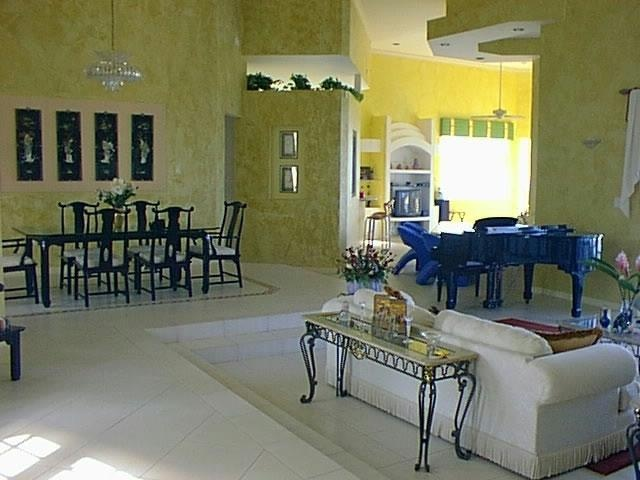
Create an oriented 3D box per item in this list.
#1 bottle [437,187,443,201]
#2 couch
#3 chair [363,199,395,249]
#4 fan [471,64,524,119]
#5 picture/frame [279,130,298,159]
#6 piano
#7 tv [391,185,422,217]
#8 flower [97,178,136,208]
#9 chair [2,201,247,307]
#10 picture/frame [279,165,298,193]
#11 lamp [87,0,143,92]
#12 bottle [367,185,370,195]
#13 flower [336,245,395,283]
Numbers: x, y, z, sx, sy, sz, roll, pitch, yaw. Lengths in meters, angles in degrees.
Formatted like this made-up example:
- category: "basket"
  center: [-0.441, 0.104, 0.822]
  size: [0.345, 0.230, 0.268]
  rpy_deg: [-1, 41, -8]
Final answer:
- category: "bottle"
  center: [3.708, -1.437, 16.795]
  size: [0.168, 0.334, 0.557]
  rpy_deg: [3, 10, 12]
- category: "couch"
  center: [1.683, 0.690, 4.466]
  size: [1.197, 1.104, 2.586]
  rpy_deg: [-7, 10, -38]
- category: "chair"
  center: [1.620, -0.512, 14.927]
  size: [0.757, 1.216, 2.156]
  rpy_deg: [3, 10, 7]
- category: "fan"
  center: [4.696, -3.881, 14.246]
  size: [1.327, 1.344, 1.258]
  rpy_deg: [-9, 17, -26]
- category: "picture/frame"
  center: [-0.590, -1.829, 10.453]
  size: [0.360, 0.538, 0.116]
  rpy_deg: [0, 11, -5]
- category: "piano"
  center: [2.780, 0.198, 7.899]
  size: [1.715, 1.174, 1.793]
  rpy_deg: [-3, 7, -29]
- category: "tv"
  center: [2.485, -1.118, 15.822]
  size: [0.963, 0.885, 0.352]
  rpy_deg: [-2, 3, -33]
- category: "flower"
  center: [-3.139, -0.724, 8.310]
  size: [0.580, 0.390, 0.567]
  rpy_deg: [-7, 11, -20]
- category: "chair"
  center: [-2.711, 0.112, 8.340]
  size: [2.961, 1.440, 3.235]
  rpy_deg: [1, 10, -2]
- category: "picture/frame"
  center: [-0.591, -1.165, 10.479]
  size: [0.362, 0.507, 0.135]
  rpy_deg: [0, 11, -5]
- category: "lamp"
  center: [-3.169, -3.066, 8.288]
  size: [0.717, 1.661, 2.400]
  rpy_deg: [-3, 11, -20]
- category: "bottle"
  center: [1.408, -1.439, 15.602]
  size: [0.098, 0.269, 0.037]
  rpy_deg: [-4, 12, -24]
- category: "flower"
  center: [0.600, 0.336, 6.780]
  size: [0.597, 0.456, 0.542]
  rpy_deg: [3, 10, 9]
